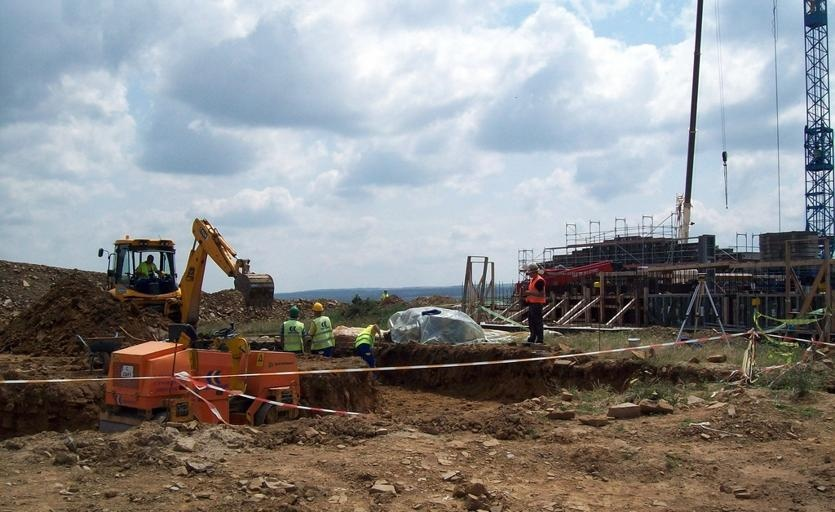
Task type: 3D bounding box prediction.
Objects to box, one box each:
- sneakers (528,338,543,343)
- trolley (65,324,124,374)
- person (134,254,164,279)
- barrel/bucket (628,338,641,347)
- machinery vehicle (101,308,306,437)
[{"bbox_3d":[3.801,2.746,20.795,0.288,0.097,0.215,-5,-4,20],"label":"sneakers"},{"bbox_3d":[-9.472,2.778,18.997,1.621,1.167,1.342,0,1,-2],"label":"trolley"},{"bbox_3d":[-9.360,0.366,22.442,0.723,0.975,0.757,17,8,33],"label":"person"},{"bbox_3d":[6.537,2.592,19.481,0.360,0.237,0.353,0,2,0],"label":"barrel/bucket"},{"bbox_3d":[-5.071,2.999,15.680,2.511,2.353,4.386,-4,-7,37],"label":"machinery vehicle"}]
